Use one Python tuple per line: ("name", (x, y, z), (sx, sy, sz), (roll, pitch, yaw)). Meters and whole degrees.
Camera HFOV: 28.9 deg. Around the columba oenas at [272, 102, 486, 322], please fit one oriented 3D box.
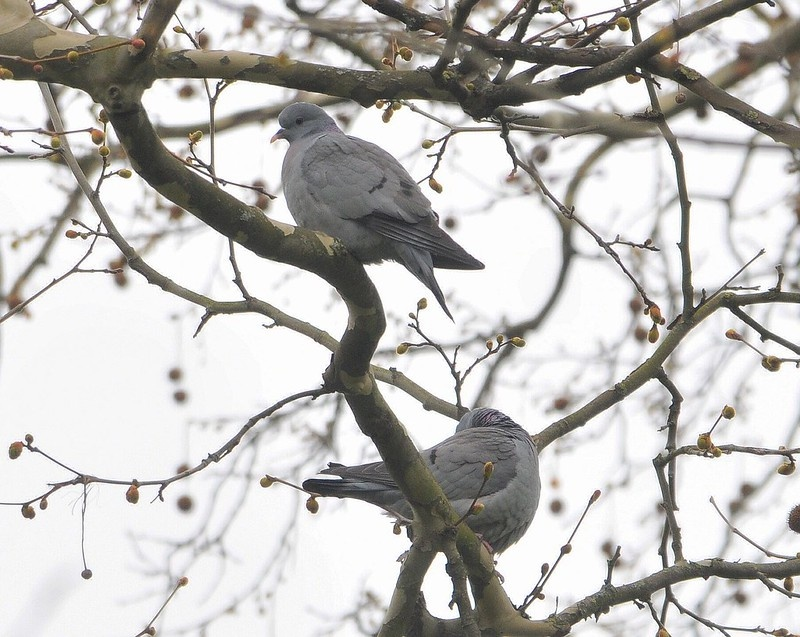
("columba oenas", (-0.113, -0.575, 7.927), (1.201, 0.564, 1.052), (4, -105, 18))
